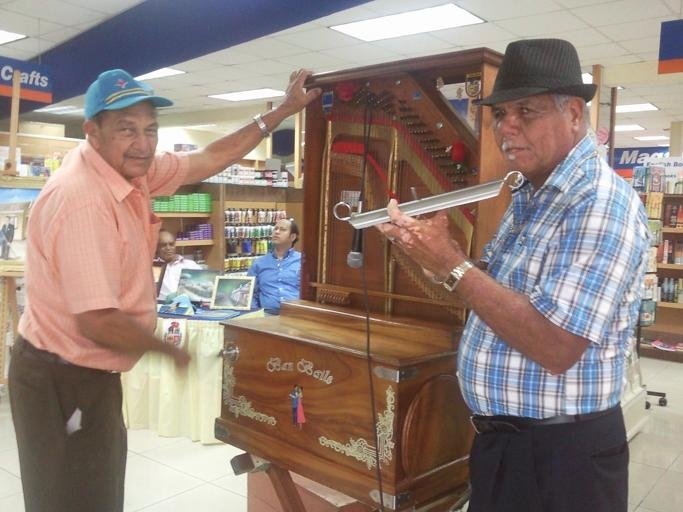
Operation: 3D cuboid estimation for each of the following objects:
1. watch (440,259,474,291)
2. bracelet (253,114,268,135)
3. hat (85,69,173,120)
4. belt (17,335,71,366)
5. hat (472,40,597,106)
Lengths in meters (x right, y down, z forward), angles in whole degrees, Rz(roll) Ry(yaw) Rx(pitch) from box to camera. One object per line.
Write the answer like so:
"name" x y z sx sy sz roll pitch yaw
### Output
"watch" 0.351 0.050 1.649 0.060 0.094 0.098 42 14 19
"bracelet" -0.352 -0.595 2.529 0.054 0.088 0.092 -33 -14 -20
"hat" -0.768 -0.578 1.995 0.279 0.136 0.199 -17 12 9
"belt" -1.041 0.334 1.936 0.236 0.089 0.042 2 5 15
"hat" 0.582 -0.537 1.632 0.249 0.132 0.218 -3 9 12
